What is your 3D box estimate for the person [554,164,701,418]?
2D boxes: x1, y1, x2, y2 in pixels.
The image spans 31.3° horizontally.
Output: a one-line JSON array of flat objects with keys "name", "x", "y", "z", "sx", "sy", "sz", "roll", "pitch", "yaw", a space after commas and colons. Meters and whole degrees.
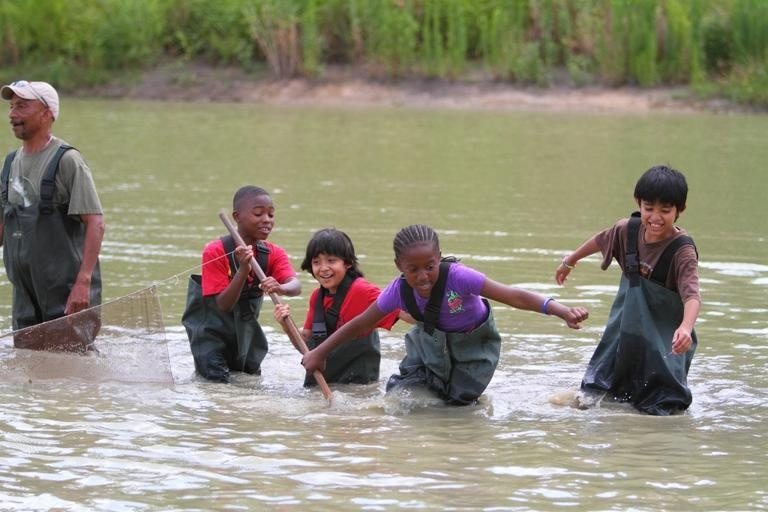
[{"name": "person", "x": 1.801, "y": 0.373, "z": 9.456, "sx": 0.527, "sy": 1.360, "sz": 1.071, "roll": -11, "pitch": 12, "yaw": -44}]

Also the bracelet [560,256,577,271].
[{"name": "bracelet", "x": 1.347, "y": 0.038, "z": 9.879, "sx": 0.130, "sy": 0.129, "sz": 0.066, "roll": 8, "pitch": 48, "yaw": 0}]

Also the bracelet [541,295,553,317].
[{"name": "bracelet", "x": 1.106, "y": 0.344, "z": 9.285, "sx": 0.047, "sy": 0.107, "sz": 0.100, "roll": 16, "pitch": 14, "yaw": -9}]

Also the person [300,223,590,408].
[{"name": "person", "x": 0.452, "y": 0.487, "z": 10.126, "sx": 1.594, "sy": 0.796, "sz": 0.524, "roll": -5, "pitch": 1, "yaw": 16}]
